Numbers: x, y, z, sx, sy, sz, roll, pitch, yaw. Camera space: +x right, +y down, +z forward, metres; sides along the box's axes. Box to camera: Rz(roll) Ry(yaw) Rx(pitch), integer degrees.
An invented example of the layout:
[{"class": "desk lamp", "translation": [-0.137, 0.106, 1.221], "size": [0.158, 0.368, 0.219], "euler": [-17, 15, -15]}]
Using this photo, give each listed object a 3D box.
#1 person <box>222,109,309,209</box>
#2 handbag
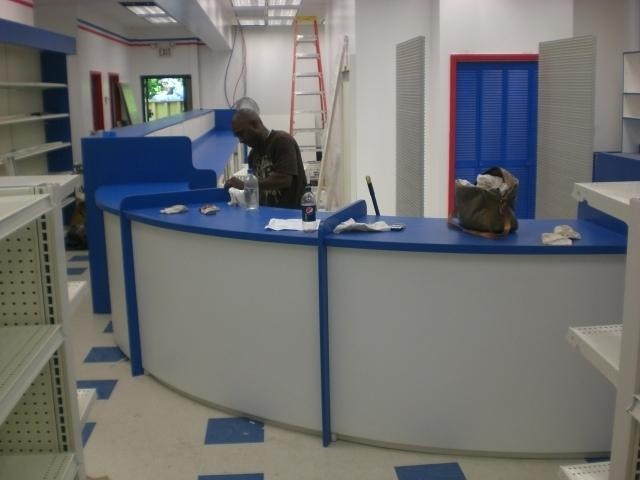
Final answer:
[{"class": "person", "translation": [-0.405, -0.615, 3.711], "size": [0.554, 0.754, 0.544], "euler": [0, 13, 5]}, {"class": "handbag", "translation": [0.825, -0.203, 2.555], "size": [0.303, 0.317, 0.436], "euler": [-10, 15, -10]}]
